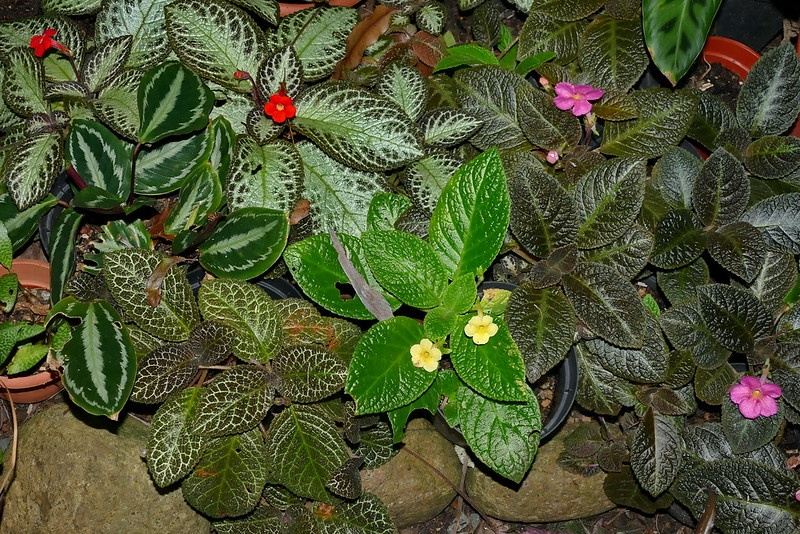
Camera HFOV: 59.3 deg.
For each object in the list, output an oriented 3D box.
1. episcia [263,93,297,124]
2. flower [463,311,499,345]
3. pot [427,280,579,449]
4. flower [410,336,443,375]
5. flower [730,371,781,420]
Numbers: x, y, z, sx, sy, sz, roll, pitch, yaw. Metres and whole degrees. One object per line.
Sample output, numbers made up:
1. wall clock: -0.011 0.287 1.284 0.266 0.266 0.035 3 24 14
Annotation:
1. episcia: -0.595 -0.807 3.534 0.176 0.114 0.176 -5 50 -26
2. flower: 0.371 0.292 3.257 0.132 0.123 0.124 -22 58 -36
3. pot: 0.600 0.621 3.733 0.613 1.002 0.528 20 42 0
4. flower: 0.117 0.401 3.286 0.147 0.113 0.135 22 43 0
5. flower: 1.755 0.658 3.513 0.221 0.221 0.129 36 45 15
